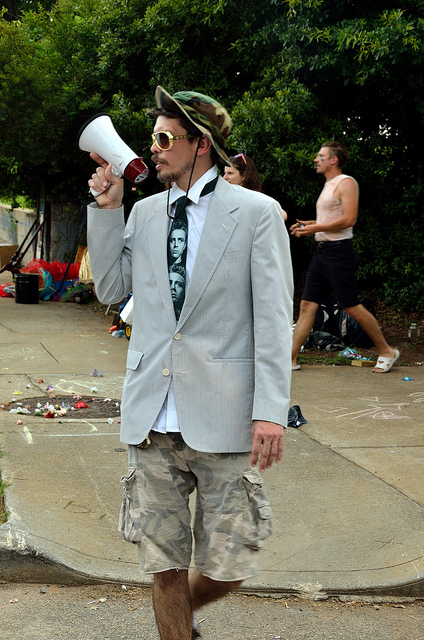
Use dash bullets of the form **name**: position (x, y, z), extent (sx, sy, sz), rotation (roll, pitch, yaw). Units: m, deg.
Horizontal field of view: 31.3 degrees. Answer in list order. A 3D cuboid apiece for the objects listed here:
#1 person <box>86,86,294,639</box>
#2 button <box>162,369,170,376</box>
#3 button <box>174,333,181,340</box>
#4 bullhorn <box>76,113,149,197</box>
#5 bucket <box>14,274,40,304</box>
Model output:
- **person**: position (-0.039, 0.109, 2.419), extent (0.584, 1.676, 0.625), rotation (-3, 11, -25)
- **button**: position (-0.141, 0.159, 2.322), extent (0.023, 0.019, 0.005), rotation (-2, -3, 6)
- **button**: position (-0.105, 0.049, 2.321), extent (0.024, 0.020, 0.005), rotation (-4, 3, 5)
- **bullhorn**: position (-0.340, -0.600, 2.613), extent (0.200, 0.238, 0.321), rotation (-2, 10, -25)
- **bucket**: position (-3.090, -0.528, 12.643), extent (0.402, 0.507, 0.304), rotation (-2, 11, -23)
